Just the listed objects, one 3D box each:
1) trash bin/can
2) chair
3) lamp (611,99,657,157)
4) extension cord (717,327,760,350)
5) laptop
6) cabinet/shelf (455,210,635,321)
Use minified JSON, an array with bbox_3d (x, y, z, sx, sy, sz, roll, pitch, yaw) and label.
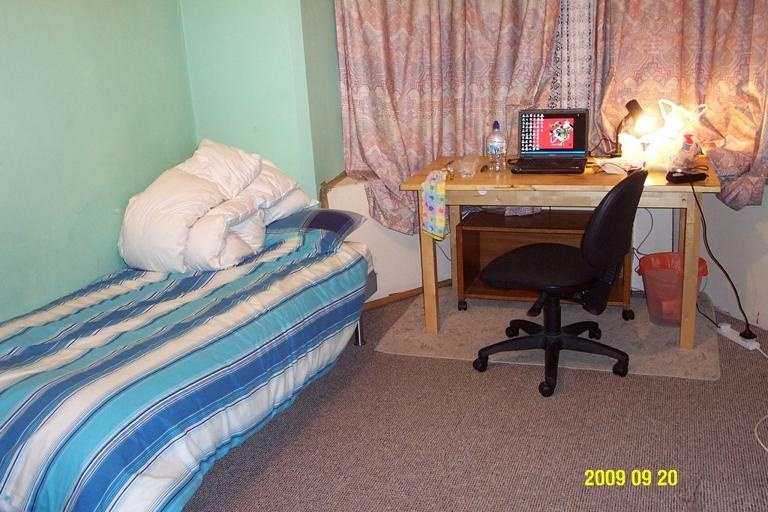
[{"bbox_3d":[1.696,0.160,3.591,0.448,0.427,0.466,10,23,39],"label":"trash bin/can"},{"bbox_3d":[0.934,0.104,3.051,0.757,1.121,0.670,9,27,28],"label":"chair"},{"bbox_3d":[1.507,-0.772,3.470,0.203,0.341,0.493,5,25,20],"label":"lamp"},{"bbox_3d":[2.044,0.471,3.322,0.096,0.025,0.169,-17,22,-17],"label":"extension cord"},{"bbox_3d":[1.013,-0.712,3.483,0.510,0.365,0.426,4,19,19],"label":"laptop"},{"bbox_3d":[0.958,0.067,3.364,0.698,0.621,0.273,2,14,18],"label":"cabinet/shelf"}]
